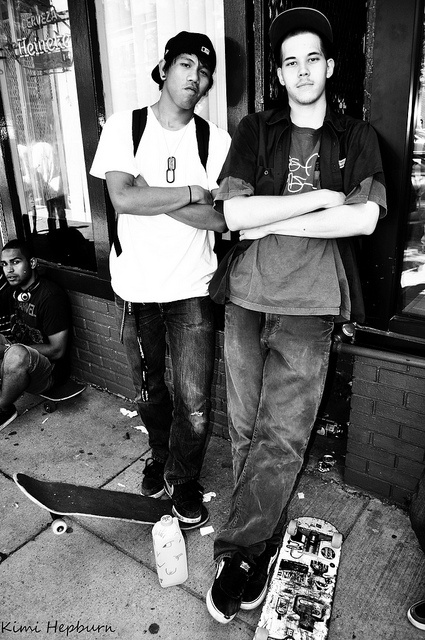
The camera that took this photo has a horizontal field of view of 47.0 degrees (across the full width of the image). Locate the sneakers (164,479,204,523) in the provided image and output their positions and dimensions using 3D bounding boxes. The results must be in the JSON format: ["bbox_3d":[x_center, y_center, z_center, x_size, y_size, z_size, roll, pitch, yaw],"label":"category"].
[{"bbox_3d":[-0.146,0.882,2.438,0.088,0.108,0.248,7,12,-33],"label":"sneakers"}]

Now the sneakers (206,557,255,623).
[{"bbox_3d":[0.063,0.982,1.862,0.105,0.127,0.309,31,11,-4],"label":"sneakers"}]

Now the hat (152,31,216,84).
[{"bbox_3d":[-0.100,-1.108,2.064,0.214,0.211,0.125,-4,15,-5],"label":"hat"}]

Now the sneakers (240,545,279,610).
[{"bbox_3d":[0.183,1.006,1.888,0.092,0.300,0.105,8,-28,26],"label":"sneakers"}]

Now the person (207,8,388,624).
[{"bbox_3d":[0.219,0.003,1.855,0.705,2.138,0.486,-7,15,-20],"label":"person"}]

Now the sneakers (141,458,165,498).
[{"bbox_3d":[-0.318,0.854,2.613,0.072,0.104,0.218,2,2,4],"label":"sneakers"}]

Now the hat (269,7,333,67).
[{"bbox_3d":[0.309,-1.001,1.723,0.216,0.159,0.184,1,16,12],"label":"hat"}]
